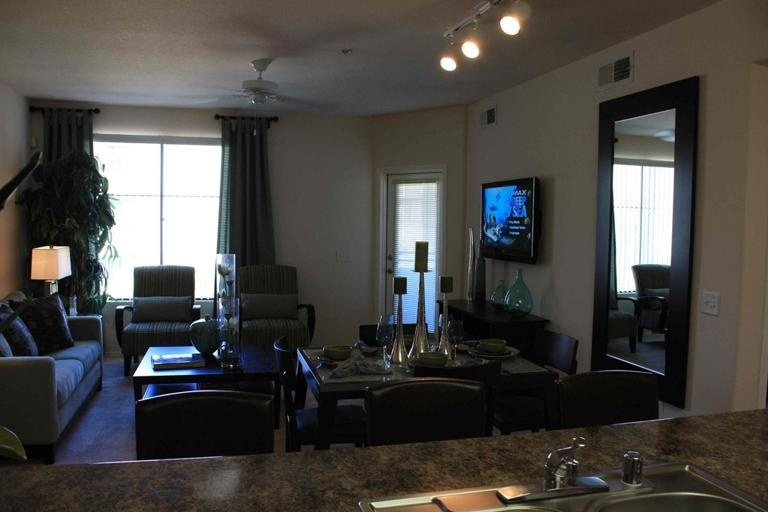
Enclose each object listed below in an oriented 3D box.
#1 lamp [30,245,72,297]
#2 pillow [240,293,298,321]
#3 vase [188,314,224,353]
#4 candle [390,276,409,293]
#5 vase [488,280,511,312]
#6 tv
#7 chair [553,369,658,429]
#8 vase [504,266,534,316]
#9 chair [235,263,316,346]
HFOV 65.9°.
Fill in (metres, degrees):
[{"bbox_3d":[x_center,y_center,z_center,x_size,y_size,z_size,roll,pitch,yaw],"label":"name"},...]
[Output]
[{"bbox_3d":[-3.438,0.146,6.144,0.286,0.512,0.552,-2,8,-11],"label":"lamp"},{"bbox_3d":[-1.344,0.587,6.905,0.662,0.283,0.170,-2,8,-9],"label":"pillow"},{"bbox_3d":[-1.461,0.631,4.821,0.283,0.331,0.287,3,-2,-16],"label":"vase"},{"bbox_3d":[0.105,0.196,3.849,0.074,0.111,0.112,-1,8,-6],"label":"candle"},{"bbox_3d":[1.131,0.395,5.950,0.239,0.328,0.243,4,1,-8],"label":"vase"},{"bbox_3d":[1.268,-0.351,5.891,0.118,0.858,0.913,0,1,-19],"label":"tv"},{"bbox_3d":[1.114,0.714,2.974,0.546,0.252,0.184,-2,8,-13],"label":"chair"},{"bbox_3d":[1.311,0.344,5.675,0.306,0.425,0.309,0,8,15],"label":"vase"},{"bbox_3d":[-1.293,0.581,7.037,0.877,1.209,0.967,0,-7,-17],"label":"chair"}]
